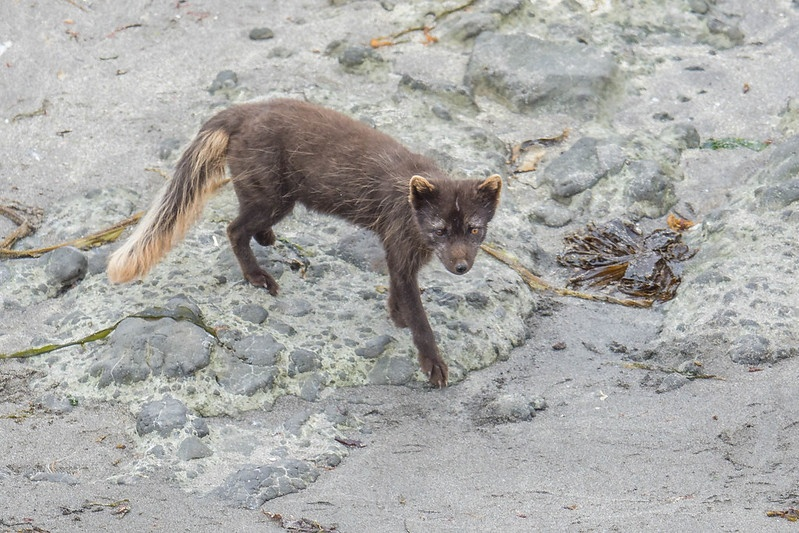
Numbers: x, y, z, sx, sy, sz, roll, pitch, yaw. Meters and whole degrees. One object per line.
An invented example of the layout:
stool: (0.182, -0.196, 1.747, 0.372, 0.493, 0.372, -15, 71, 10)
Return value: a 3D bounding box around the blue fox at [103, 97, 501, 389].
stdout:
blue fox: (-0.722, -0.541, 9.008, 2.943, 0.873, 1.897, 19, 78, 4)
